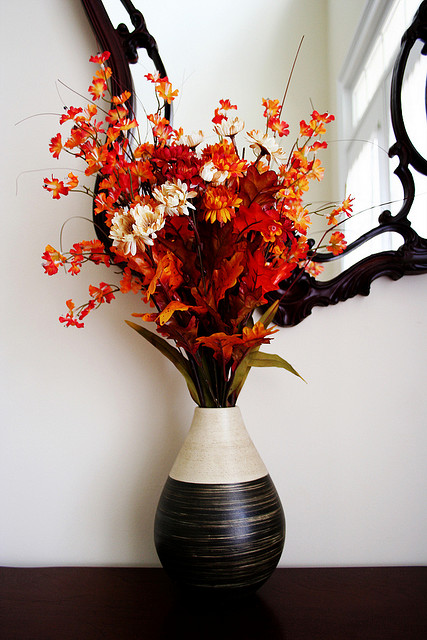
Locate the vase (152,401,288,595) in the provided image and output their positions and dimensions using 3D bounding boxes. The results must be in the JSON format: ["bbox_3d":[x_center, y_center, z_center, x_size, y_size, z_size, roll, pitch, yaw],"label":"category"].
[{"bbox_3d":[0.006,0.240,0.762,0.185,0.221,0.169,3,-7,-27],"label":"vase"}]
